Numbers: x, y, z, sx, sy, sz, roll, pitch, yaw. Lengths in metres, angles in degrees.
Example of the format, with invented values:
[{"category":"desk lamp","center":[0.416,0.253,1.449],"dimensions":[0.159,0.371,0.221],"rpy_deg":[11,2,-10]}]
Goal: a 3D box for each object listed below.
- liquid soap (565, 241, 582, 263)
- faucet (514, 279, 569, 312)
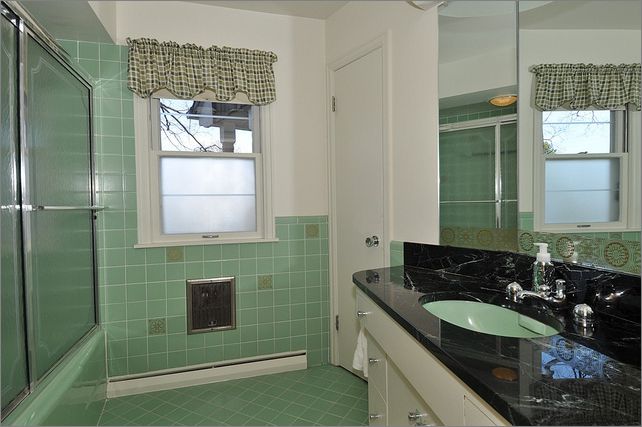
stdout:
[{"category":"liquid soap","center":[1.241,0.186,2.183],"dimensions":[0.018,0.107,0.073],"rpy_deg":[-4,2,-27]},{"category":"faucet","center":[1.049,0.383,2.141],"dimensions":[0.270,0.135,0.144],"rpy_deg":[-2,2,21]}]
